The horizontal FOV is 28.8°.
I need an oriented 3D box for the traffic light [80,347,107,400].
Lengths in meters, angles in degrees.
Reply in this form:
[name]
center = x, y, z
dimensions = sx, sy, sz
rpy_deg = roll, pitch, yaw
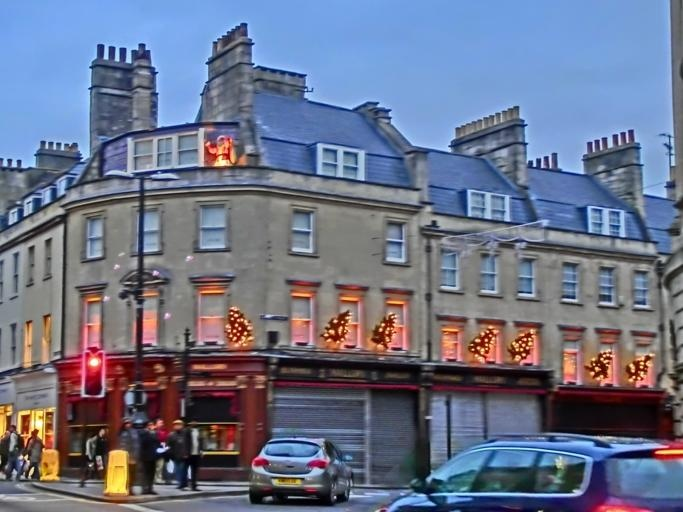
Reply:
[traffic light]
center = -7.487, 3.376, 40.114
dimensions = 0.641, 1.517, 0.814
rpy_deg = 1, -15, -12

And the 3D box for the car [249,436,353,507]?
[car]
center = -1.053, 6.299, 39.492
dimensions = 1.989, 2.073, 2.872
rpy_deg = -11, -16, 34
